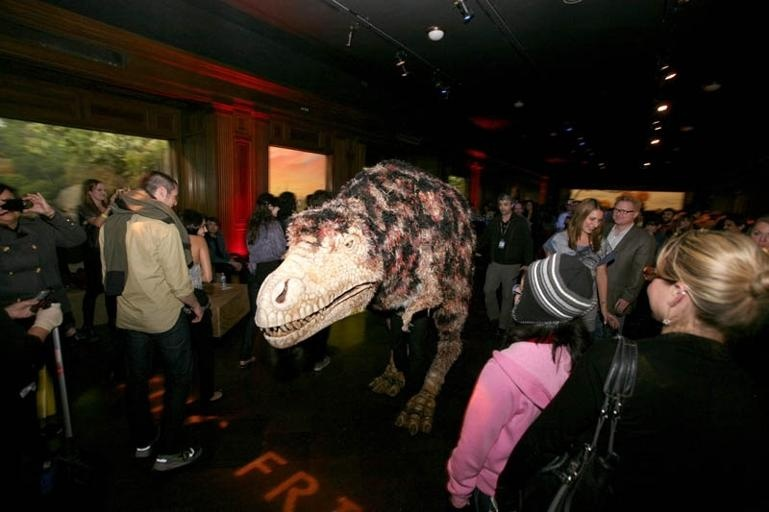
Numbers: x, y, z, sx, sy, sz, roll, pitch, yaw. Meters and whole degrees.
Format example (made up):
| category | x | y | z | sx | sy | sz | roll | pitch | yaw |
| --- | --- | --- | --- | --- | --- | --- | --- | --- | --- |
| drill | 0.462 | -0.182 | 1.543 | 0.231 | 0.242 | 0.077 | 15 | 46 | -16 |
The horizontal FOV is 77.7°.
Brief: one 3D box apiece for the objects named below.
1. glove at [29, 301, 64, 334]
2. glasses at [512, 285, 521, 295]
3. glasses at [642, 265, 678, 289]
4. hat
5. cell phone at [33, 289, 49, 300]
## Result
| category | x | y | z | sx | sy | sz | roll | pitch | yaw |
| --- | --- | --- | --- | --- | --- | --- | --- | --- | --- |
| glove | -3.114 | 0.576 | 4.449 | 0.269 | 0.089 | 0.246 | 36 | 46 | 25 |
| glasses | 1.128 | 0.277 | 4.062 | 0.047 | 0.054 | 0.128 | 1 | -15 | 22 |
| glasses | 2.132 | 0.153 | 3.677 | 0.216 | 0.079 | 0.210 | 21 | 4 | 8 |
| hat | 1.392 | 0.283 | 3.878 | 0.604 | 0.467 | 0.535 | -3 | -8 | -16 |
| cell phone | -3.264 | 0.337 | 4.534 | 0.106 | 0.035 | 0.105 | -32 | -5 | -47 |
